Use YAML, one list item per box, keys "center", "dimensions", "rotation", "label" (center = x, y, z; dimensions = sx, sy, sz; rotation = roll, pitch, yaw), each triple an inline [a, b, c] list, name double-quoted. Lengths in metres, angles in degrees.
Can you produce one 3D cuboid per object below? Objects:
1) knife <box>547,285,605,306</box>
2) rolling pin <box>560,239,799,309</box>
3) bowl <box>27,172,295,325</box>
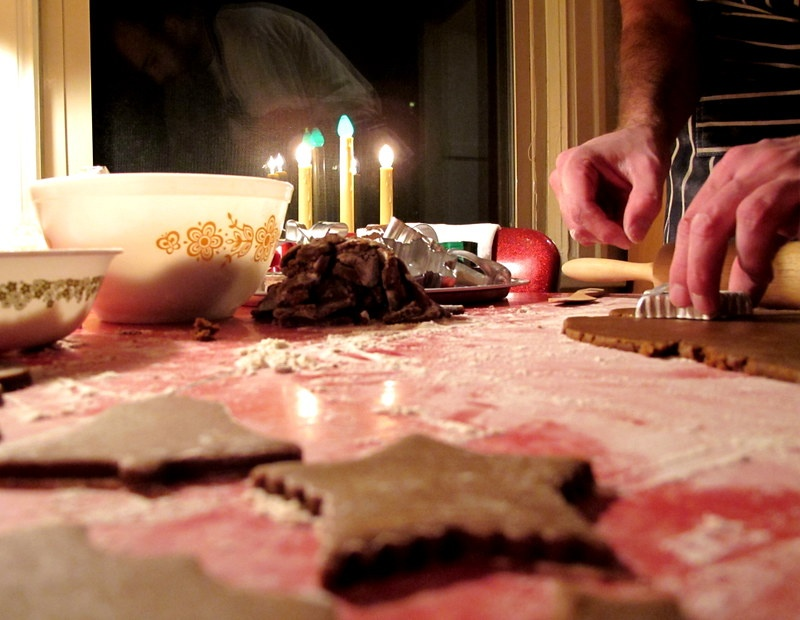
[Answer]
- center: [0.308, -0.026, 1.094]
  dimensions: [0.063, 0.016, 0.191]
  rotation: [1, 5, 18]
  label: "knife"
- center: [0.401, -0.053, 0.873]
  dimensions: [0.066, 0.064, 0.276]
  rotation: [-3, 6, -40]
  label: "rolling pin"
- center: [-0.224, -0.069, 0.648]
  dimensions: [0.189, 0.097, 0.188]
  rotation: [0, 3, 0]
  label: "bowl"
